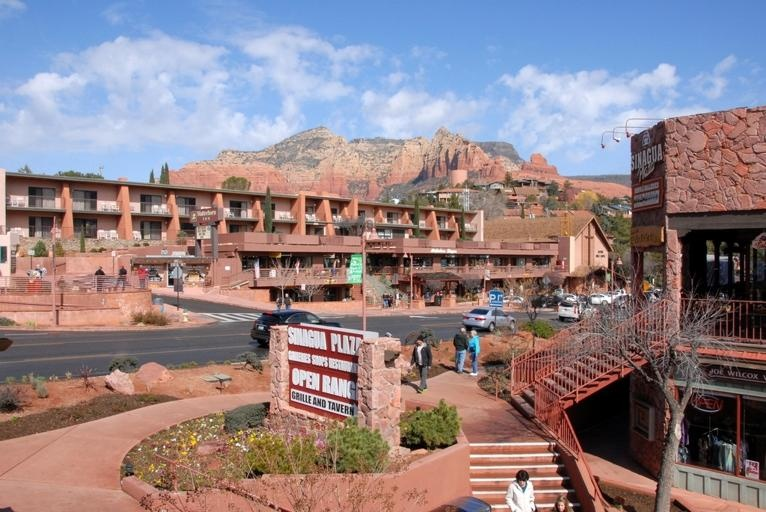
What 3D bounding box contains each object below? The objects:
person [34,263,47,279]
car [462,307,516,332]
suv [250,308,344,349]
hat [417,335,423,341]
[{"bbox_3d":[-26.593,1.253,49.230,1.053,1.225,2.108,0,-4,-42],"label":"person"},{"bbox_3d":[6.900,4.300,42.680,2.880,1.602,2.203,5,7,29],"label":"car"},{"bbox_3d":[-4.264,4.134,33.385,5.068,1.723,2.281,0,0,-27],"label":"suv"},{"bbox_3d":[1.493,3.385,25.590,0.245,0.249,0.386,1,6,1],"label":"hat"}]
